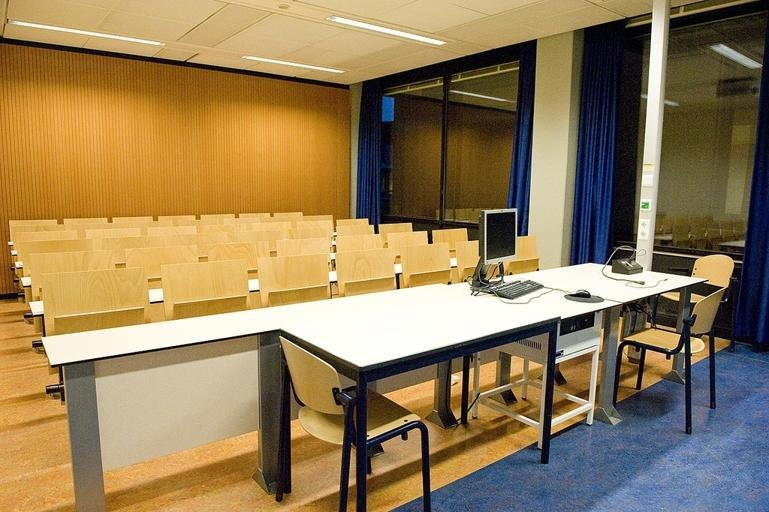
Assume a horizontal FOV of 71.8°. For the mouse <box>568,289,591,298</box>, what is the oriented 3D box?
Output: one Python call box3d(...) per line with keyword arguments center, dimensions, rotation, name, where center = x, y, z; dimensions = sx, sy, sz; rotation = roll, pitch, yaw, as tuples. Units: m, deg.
box3d(center=(1.708, 0.327, 4.616), dimensions=(0.136, 0.047, 0.083), rotation=(3, 12, 21), name="mouse")
